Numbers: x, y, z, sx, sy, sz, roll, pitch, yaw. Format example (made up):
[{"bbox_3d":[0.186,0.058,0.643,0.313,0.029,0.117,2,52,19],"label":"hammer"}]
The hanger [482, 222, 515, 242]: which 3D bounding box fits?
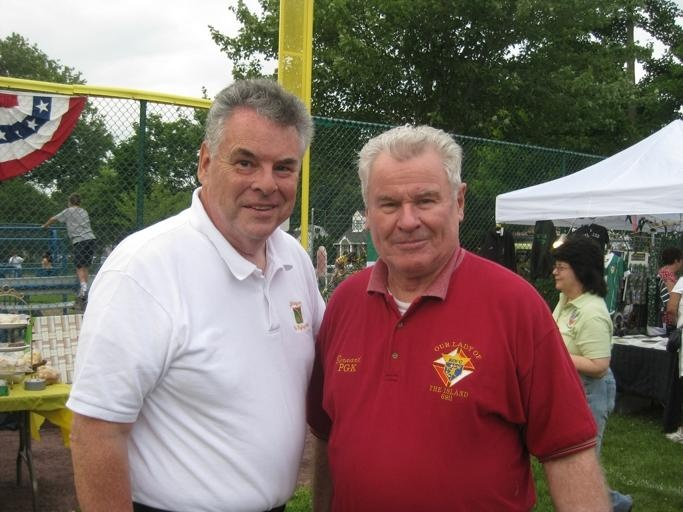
[{"bbox_3d":[2.111,-0.313,10.201,0.300,0.196,0.072,2,-6,-21],"label":"hanger"}]
